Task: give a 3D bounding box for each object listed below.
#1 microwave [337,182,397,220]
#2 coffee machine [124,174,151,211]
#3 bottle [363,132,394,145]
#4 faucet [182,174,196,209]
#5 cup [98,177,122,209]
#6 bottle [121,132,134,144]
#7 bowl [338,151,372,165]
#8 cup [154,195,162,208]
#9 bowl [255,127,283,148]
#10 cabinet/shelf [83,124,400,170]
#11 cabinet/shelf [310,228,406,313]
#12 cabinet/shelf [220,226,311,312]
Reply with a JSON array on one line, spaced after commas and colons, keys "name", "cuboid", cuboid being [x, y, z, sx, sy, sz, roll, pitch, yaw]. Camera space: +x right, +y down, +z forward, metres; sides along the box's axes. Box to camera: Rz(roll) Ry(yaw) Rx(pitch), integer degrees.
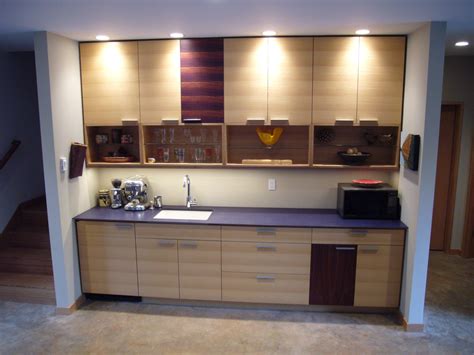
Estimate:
[{"name": "microwave", "cuboid": [1.574, 0.317, 4.647, 0.578, 0.344, 0.414, 0, 4, 4]}, {"name": "coffee machine", "cuboid": [-1.273, 0.204, 5.042, 0.390, 0.505, 0.420, 0, 5, 1]}, {"name": "bottle", "cuboid": [1.727, -0.475, 4.818, 0.259, 0.098, 0.156, -2, 6, 3]}, {"name": "faucet", "cuboid": [-0.605, 0.182, 5.061, 0.153, 0.431, 0.257, -2, 8, -6]}, {"name": "cup", "cuboid": [-1.641, 0.217, 5.128, 0.430, 0.379, 0.258, 0, 4, -20]}, {"name": "bottle", "cuboid": [-1.431, -0.513, 5.069, 0.124, 0.119, 0.123, 1, 2, -14]}, {"name": "bowl", "cuboid": [1.464, -0.242, 4.865, 0.435, 0.163, 0.302, -1, 7, 5]}, {"name": "cup", "cuboid": [-1.033, 0.321, 5.119, 0.101, 0.150, 0.098, -1, 8, 0]}, {"name": "bowl", "cuboid": [0.405, -0.507, 4.950, 0.321, 0.237, 0.264, 1, 5, 0]}, {"name": "cabinet/shelf", "cuboid": [0.021, -0.389, 4.932, 3.840, 0.593, 0.373, -1, 8, 5]}, {"name": "cabinet/shelf", "cuboid": [1.398, 1.023, 4.523, 0.989, 0.871, 0.377, 1, 4, 3]}, {"name": "cabinet/shelf", "cuboid": [0.335, 1.019, 4.584, 0.976, 0.800, 0.382, 1, 3, 5]}]
